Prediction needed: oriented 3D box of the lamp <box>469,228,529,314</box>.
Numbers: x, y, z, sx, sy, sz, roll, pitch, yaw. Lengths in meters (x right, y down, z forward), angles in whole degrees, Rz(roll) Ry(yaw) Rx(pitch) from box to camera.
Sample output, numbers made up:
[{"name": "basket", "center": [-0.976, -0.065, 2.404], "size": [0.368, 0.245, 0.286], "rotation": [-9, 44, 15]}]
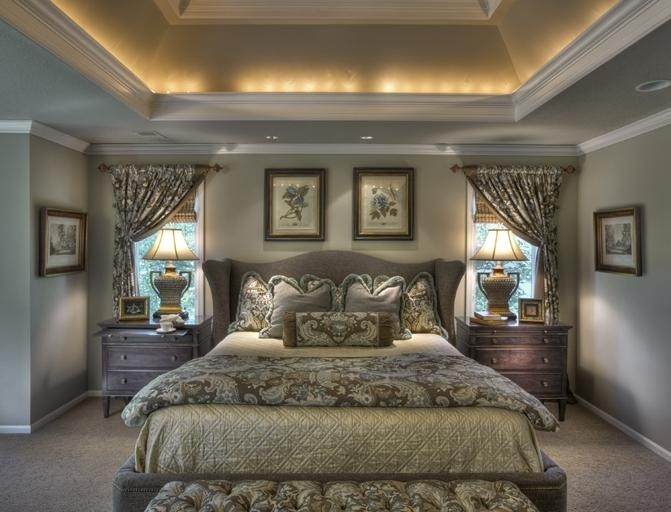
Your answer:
[{"name": "lamp", "center": [1.730, 0.183, 5.122], "size": [0.658, 0.907, 0.613], "rotation": [1, -4, 0]}]

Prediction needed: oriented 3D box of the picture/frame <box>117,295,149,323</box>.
[{"name": "picture/frame", "center": [-2.023, 0.525, 4.983], "size": [0.421, 0.358, 0.220], "rotation": [0, -5, -19]}]

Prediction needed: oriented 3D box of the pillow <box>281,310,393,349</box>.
[{"name": "pillow", "center": [-0.013, 0.608, 4.731], "size": [1.044, 0.248, 0.987], "rotation": [-1, 3, -24]}]

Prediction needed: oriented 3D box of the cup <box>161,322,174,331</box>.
[{"name": "cup", "center": [-1.628, 0.682, 4.662], "size": [0.076, 0.051, 0.107], "rotation": [-1, -8, 3]}]

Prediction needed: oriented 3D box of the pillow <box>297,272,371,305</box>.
[{"name": "pillow", "center": [-0.058, 0.393, 5.157], "size": [0.532, 0.353, 0.151], "rotation": [-6, -28, -3]}]

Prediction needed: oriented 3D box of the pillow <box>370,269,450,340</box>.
[{"name": "pillow", "center": [0.843, 0.511, 4.860], "size": [0.657, 0.645, 0.208], "rotation": [-5, -27, 0]}]

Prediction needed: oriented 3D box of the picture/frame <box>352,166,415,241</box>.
[{"name": "picture/frame", "center": [0.505, -0.598, 5.317], "size": [0.896, 1.001, 0.074], "rotation": [0, 0, -2]}]

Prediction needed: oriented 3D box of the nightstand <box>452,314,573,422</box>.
[{"name": "nightstand", "center": [1.803, 1.128, 5.016], "size": [0.988, 0.899, 0.710], "rotation": [0, -2, -2]}]

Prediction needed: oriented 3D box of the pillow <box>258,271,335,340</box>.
[{"name": "pillow", "center": [-0.331, 0.511, 4.795], "size": [0.682, 0.622, 0.272], "rotation": [4, -32, -5]}]

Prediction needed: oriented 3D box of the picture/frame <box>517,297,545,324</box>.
[{"name": "picture/frame", "center": [1.969, 0.554, 4.886], "size": [0.257, 0.236, 0.027], "rotation": [1, -6, 8]}]

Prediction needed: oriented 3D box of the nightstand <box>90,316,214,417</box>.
[{"name": "nightstand", "center": [-1.765, 1.087, 5.072], "size": [1.041, 0.845, 0.907], "rotation": [0, -3, 4]}]

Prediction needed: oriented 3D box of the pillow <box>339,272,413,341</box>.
[{"name": "pillow", "center": [0.370, 0.497, 4.792], "size": [0.674, 0.593, 0.266], "rotation": [6, -26, 0]}]

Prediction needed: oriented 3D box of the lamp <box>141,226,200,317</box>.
[{"name": "lamp", "center": [-1.741, 0.169, 5.134], "size": [0.627, 0.878, 0.601], "rotation": [-1, -3, 19]}]

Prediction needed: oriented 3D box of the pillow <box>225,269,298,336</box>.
[{"name": "pillow", "center": [-0.743, 0.476, 4.943], "size": [0.677, 0.589, 0.111], "rotation": [6, 1, -38]}]

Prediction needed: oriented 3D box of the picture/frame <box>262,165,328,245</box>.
[{"name": "picture/frame", "center": [-0.440, -0.591, 5.323], "size": [0.905, 0.962, 0.076], "rotation": [0, -1, 0]}]
